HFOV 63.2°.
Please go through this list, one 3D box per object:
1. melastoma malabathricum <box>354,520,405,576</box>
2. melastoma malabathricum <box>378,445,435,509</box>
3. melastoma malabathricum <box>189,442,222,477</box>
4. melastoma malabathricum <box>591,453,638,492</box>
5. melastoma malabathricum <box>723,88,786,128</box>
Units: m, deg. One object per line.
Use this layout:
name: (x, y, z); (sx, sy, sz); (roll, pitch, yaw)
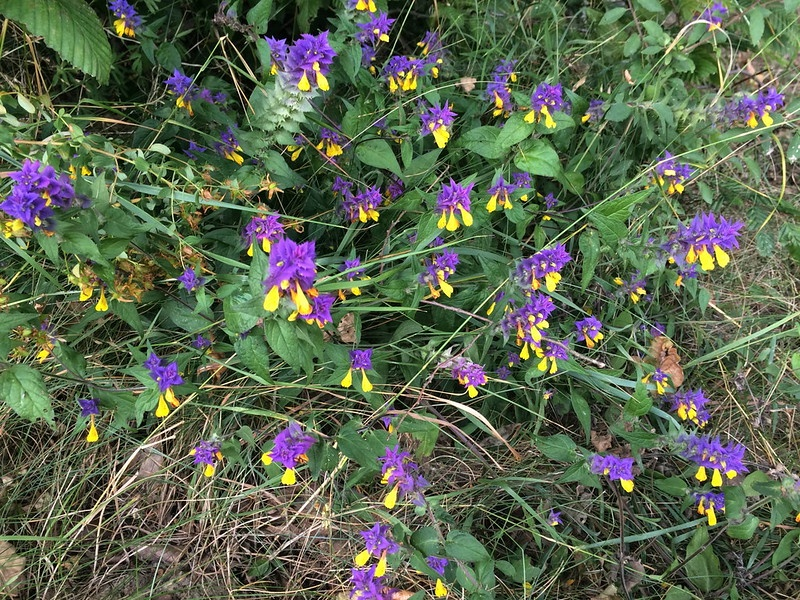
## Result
melastoma malabathricum: (-0.077, 0.927, 2.451); (0.197, 0.094, 0.210); (-8, 86, 4)
melastoma malabathricum: (0.015, 0.723, 2.658); (0.203, 0.324, 0.221); (-13, 61, -5)
melastoma malabathricum: (-0.789, 0.656, 2.658); (0.100, 0.177, 0.118); (22, 55, 5)
melastoma malabathricum: (0.891, 0.700, 2.725); (0.157, 0.170, 0.076); (16, 14, 7)
melastoma malabathricum: (1.669, -0.884, 3.045); (0.242, 0.185, 0.198); (-13, 31, 13)
